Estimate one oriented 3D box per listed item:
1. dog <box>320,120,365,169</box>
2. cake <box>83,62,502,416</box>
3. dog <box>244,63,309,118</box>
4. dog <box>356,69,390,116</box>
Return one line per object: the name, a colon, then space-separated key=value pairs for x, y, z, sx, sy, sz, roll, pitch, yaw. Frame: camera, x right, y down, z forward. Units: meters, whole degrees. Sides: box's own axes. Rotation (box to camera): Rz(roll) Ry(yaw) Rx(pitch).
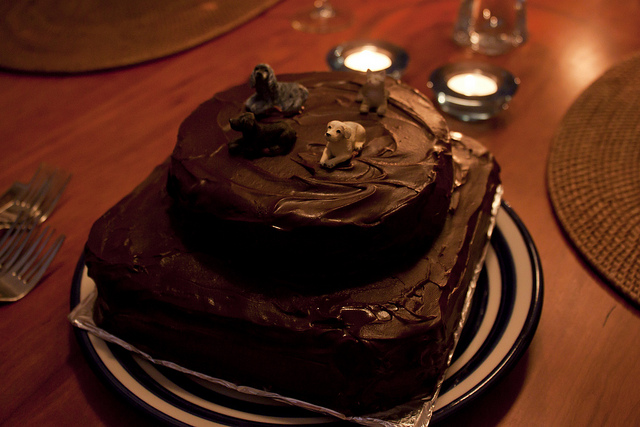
dog: x=0.098 y=-0.337 z=2.657 sx=0.174 sy=0.168 sz=0.377 roll=12 pitch=26 yaw=12
cake: x=0.056 y=0.165 z=2.905 sx=1.555 sy=1.000 sz=1.596 roll=18 pitch=54 yaw=19
dog: x=-0.187 y=-0.573 z=2.812 sx=0.222 sy=0.222 sz=0.344 roll=21 pitch=26 yaw=35
dog: x=0.247 y=-0.547 z=2.791 sx=0.098 sy=0.138 sz=0.262 roll=1 pitch=25 yaw=4
